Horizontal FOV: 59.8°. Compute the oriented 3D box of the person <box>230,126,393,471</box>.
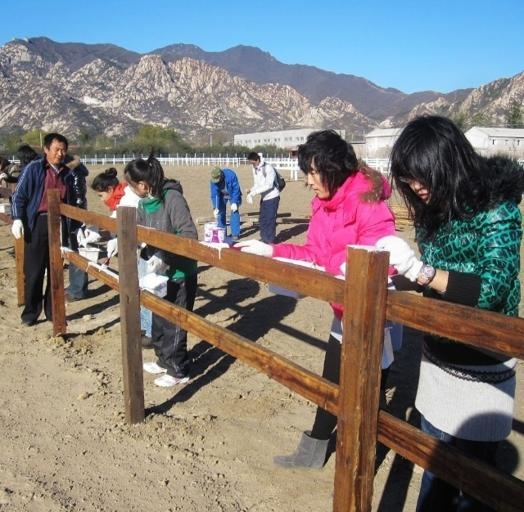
[{"bbox_3d":[0.364,0.299,2.717,0.937,2.044,1.036,1,5,18],"label":"person"}]

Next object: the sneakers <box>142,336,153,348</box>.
[{"bbox_3d":[-1.147,0.873,4.559,0.143,0.076,0.063,2,4,34],"label":"sneakers"}]

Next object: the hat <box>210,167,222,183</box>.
[{"bbox_3d":[-0.887,-1.599,9.002,0.194,0.304,0.341,0,11,-6],"label":"hat"}]

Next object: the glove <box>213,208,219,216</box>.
[{"bbox_3d":[-0.901,-0.865,9.106,0.085,0.145,0.362,0,12,-7],"label":"glove"}]

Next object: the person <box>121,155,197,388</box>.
[{"bbox_3d":[-0.768,0.148,3.727,0.513,1.899,0.816,-9,14,-42],"label":"person"}]

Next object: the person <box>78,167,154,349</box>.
[{"bbox_3d":[-1.734,-0.065,5.924,0.684,2.249,0.639,8,24,19],"label":"person"}]

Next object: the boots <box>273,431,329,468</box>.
[{"bbox_3d":[0.240,1.205,2.813,0.333,0.219,0.139,9,6,-3],"label":"boots"}]

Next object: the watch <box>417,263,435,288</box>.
[{"bbox_3d":[0.629,0.078,1.739,0.065,0.100,0.089,5,12,21],"label":"watch"}]
